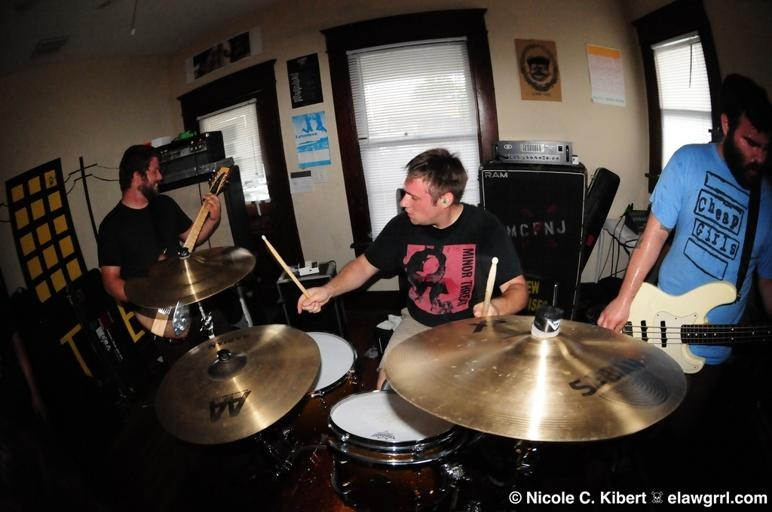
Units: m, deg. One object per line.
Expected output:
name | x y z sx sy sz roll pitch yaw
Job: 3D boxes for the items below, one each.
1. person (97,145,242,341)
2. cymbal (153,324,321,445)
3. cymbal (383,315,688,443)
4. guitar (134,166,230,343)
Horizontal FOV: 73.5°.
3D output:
person | -1.358 -0.078 2.911 0.527 1.013 0.147 -19 20 -17
cymbal | -0.723 0.614 2.551 0.778 0.377 0.476 -11 15 -26
cymbal | 0.583 0.536 2.124 0.783 0.176 0.772 5 23 17
guitar | -1.181 -0.028 3.097 0.330 1.084 0.118 29 -30 -32
